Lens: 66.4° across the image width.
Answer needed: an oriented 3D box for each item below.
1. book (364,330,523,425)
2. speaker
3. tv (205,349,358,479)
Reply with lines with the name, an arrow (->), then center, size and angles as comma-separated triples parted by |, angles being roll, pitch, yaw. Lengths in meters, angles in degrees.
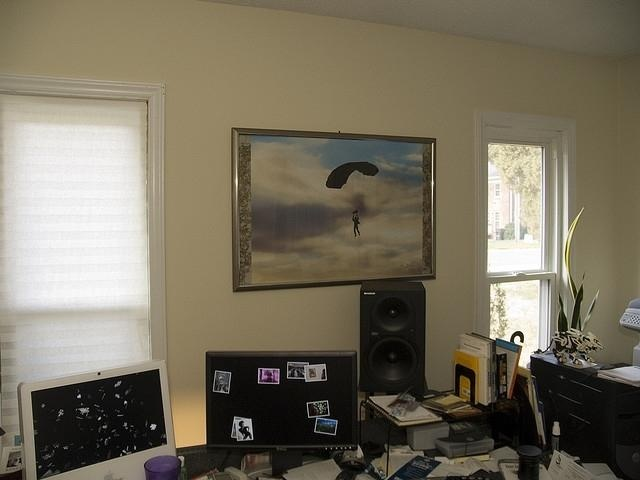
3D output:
book -> 0.849, 0.774, 2.921 | 0.544, 0.410, 0.480 | 0, 0, -11
speaker -> 0.439, 0.550, 3.064 | 0.450, 0.713, 0.440 | 1, 18, 16
tv -> -0.179, 0.799, 2.282 | 0.539, 0.481, 0.113 | 0, -6, -3
